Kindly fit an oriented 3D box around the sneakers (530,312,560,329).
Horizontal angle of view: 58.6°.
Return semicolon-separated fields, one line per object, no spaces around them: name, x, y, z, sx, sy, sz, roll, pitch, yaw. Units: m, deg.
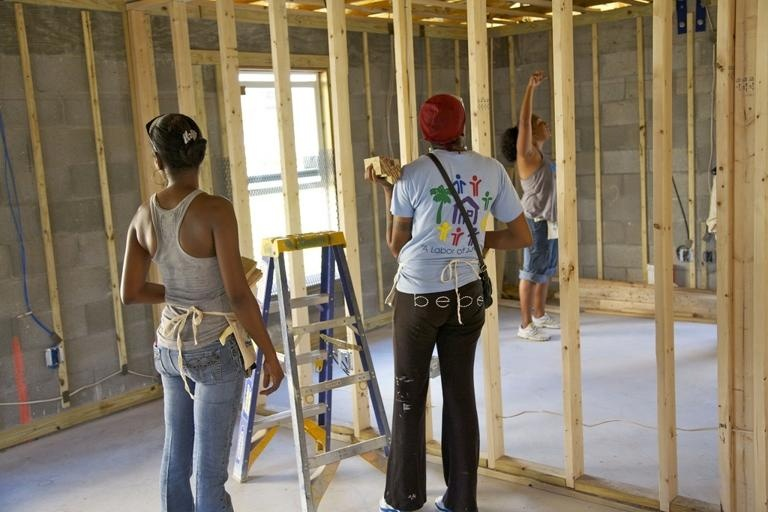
sneakers;1.605;0.645;6.802;0.330;0.154;0.136;2;4;-7

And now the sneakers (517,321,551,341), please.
sneakers;1.433;0.729;6.534;0.289;0.132;0.125;2;4;21

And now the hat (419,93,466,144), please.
hat;0.312;-0.723;3.631;0.225;0.265;0.167;-4;9;4
